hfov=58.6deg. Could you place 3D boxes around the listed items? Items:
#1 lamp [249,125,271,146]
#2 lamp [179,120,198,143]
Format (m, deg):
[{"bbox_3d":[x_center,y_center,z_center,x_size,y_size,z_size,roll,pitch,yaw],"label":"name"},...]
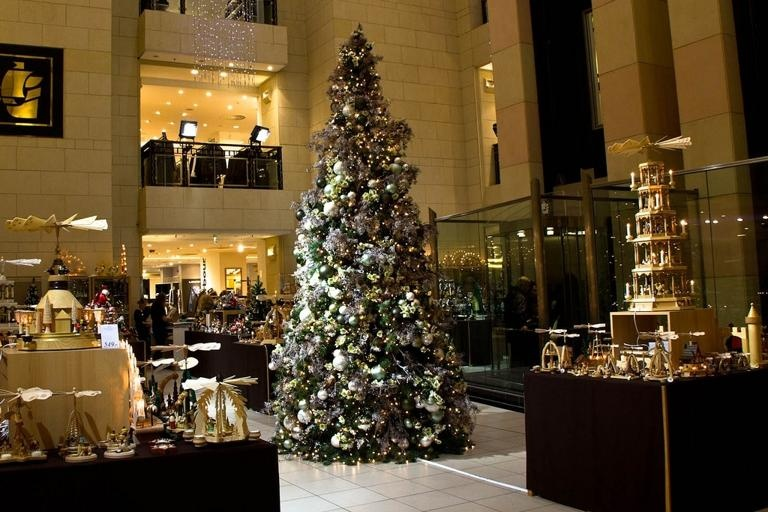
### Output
[{"bbox_3d":[-3.137,-3.045,17.245,0.426,0.545,1.070,-1,5,-8],"label":"lamp"},{"bbox_3d":[-4.733,-3.080,16.482,0.334,0.411,0.385,-3,5,-29],"label":"lamp"}]
